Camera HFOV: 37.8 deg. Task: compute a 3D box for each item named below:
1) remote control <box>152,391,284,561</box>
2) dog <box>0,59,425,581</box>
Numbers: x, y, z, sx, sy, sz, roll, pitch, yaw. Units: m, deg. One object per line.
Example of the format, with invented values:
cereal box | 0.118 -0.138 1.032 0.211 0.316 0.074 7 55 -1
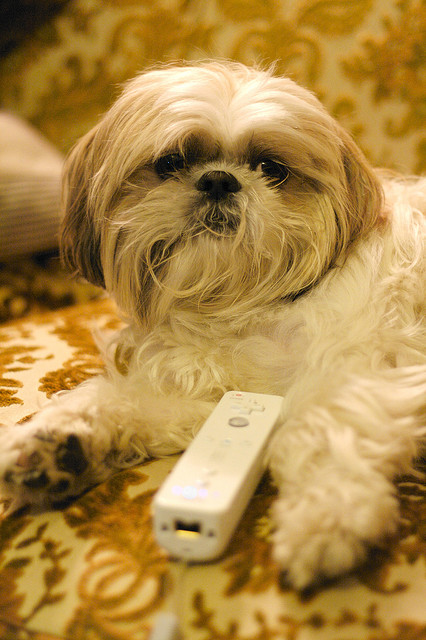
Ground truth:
remote control | 0.015 0.137 0.603 0.076 0.057 0.236 6 18 14
dog | 0.051 -0.051 0.849 0.453 0.391 0.651 3 6 30
